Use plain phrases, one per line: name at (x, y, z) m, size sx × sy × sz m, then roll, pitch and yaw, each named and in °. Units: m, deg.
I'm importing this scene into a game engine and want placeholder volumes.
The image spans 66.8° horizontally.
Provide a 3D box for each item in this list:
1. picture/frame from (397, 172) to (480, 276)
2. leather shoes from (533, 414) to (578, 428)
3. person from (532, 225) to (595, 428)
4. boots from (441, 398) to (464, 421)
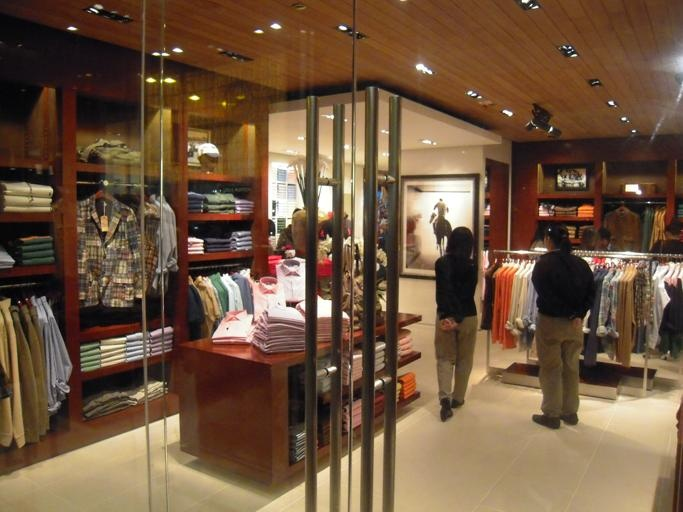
picture/frame at (0.273, -0.081, 1.494) m, size 0.268 × 0.339 × 0.021 m, roll 9°, pitch -21°, yaw -24°
leather shoes at (0.829, 0.647, 2.025) m, size 0.169 × 0.078 × 0.057 m, roll 5°, pitch 1°, yaw -17°
person at (0.894, 0.278, 2.105) m, size 0.382 × 0.777 × 0.181 m, roll -5°, pitch 8°, yaw -35°
boots at (0.371, 0.506, 1.716) m, size 0.047 × 0.061 × 0.136 m, roll -3°, pitch -6°, yaw 22°
